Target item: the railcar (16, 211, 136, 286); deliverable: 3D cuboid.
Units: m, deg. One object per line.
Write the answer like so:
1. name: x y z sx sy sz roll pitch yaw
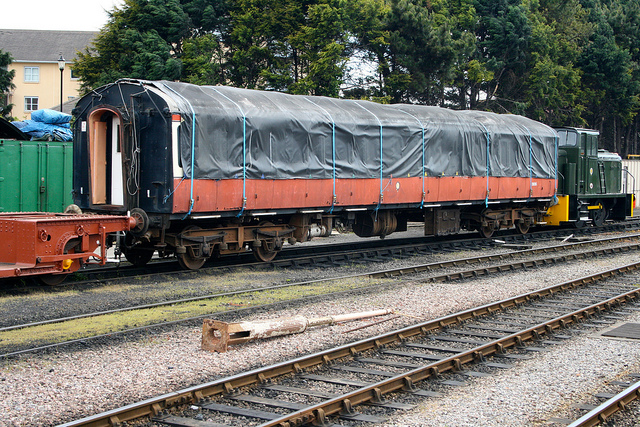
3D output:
1. railcar: -6.170 0.805 14.828 1.577 1.139 2.217 0 -1 42

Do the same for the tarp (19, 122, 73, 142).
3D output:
1. tarp: -9.960 -3.008 22.357 1.561 0.414 1.228 3 -1 -42

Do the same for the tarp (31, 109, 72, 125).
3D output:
1. tarp: -10.361 -3.650 23.268 0.860 0.388 0.890 2 3 38
